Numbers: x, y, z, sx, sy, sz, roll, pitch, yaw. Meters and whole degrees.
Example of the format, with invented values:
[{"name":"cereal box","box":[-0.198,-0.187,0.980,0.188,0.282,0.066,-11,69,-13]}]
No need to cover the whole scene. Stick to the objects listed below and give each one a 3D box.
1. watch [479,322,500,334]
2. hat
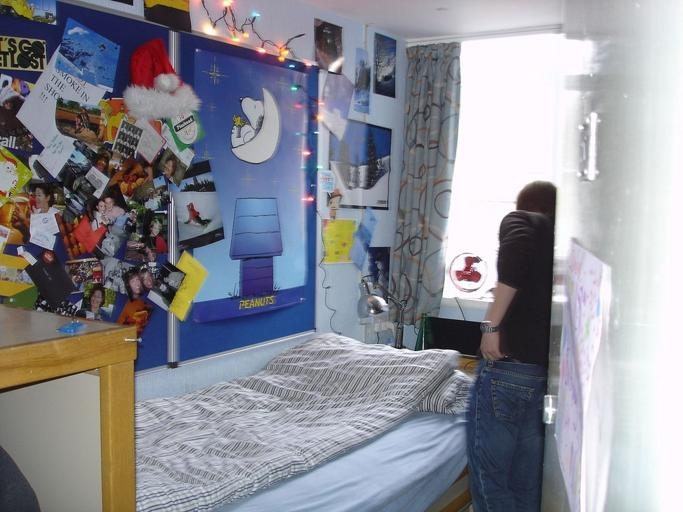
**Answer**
[{"name":"watch","box":[0.526,0.247,1.784,0.052,0.037,0.058,0,-5,1]},{"name":"hat","box":[-0.790,-0.717,2.137,0.310,0.331,0.137,-17,13,-29]}]
